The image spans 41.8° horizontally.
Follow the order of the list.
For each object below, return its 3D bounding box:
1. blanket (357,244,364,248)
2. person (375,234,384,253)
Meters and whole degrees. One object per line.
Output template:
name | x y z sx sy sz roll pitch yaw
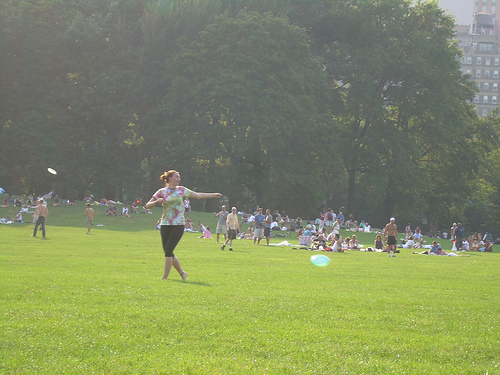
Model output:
blanket | 6.679 3.530 39.847 0.488 0.137 0.557 0 0 3
person | 6.977 2.971 35.307 0.449 0.974 2.074 4 1 11
